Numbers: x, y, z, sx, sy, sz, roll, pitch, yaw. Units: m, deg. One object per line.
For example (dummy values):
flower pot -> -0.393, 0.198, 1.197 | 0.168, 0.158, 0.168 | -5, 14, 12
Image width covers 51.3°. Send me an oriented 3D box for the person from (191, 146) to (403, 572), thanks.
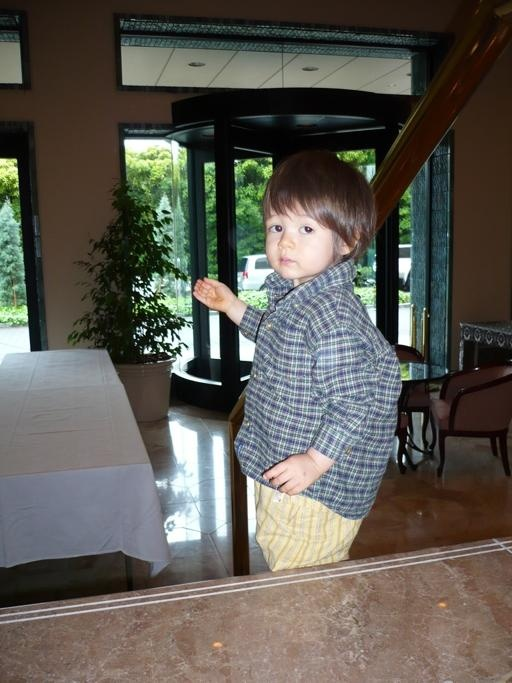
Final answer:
person -> 0.105, 0.042, 0.923 | 0.260, 0.718, 0.262 | -2, -5, -13
